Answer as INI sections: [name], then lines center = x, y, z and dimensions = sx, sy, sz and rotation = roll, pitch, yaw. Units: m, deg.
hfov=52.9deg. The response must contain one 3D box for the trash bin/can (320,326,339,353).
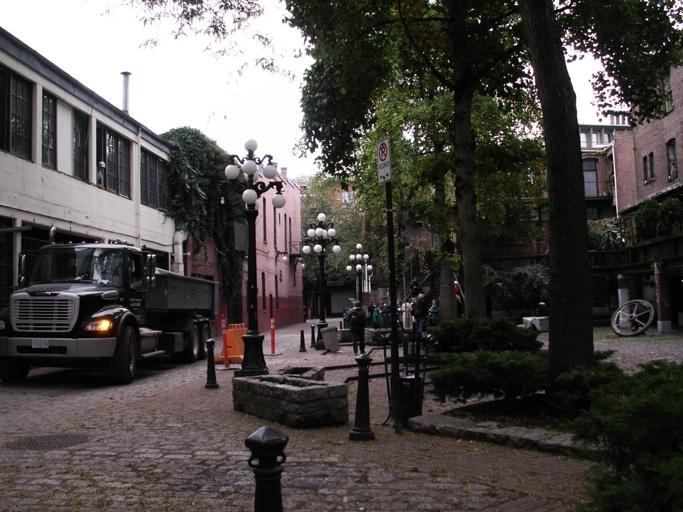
[trash bin/can]
center = -0.427, 2.977, 24.477
dimensions = 0.671, 1.222, 0.715
rotation = -1, -12, -4

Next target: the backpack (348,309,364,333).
[backpack]
center = 0.520, 2.093, 22.417
dimensions = 0.470, 0.859, 0.430
rotation = -2, -8, 5
